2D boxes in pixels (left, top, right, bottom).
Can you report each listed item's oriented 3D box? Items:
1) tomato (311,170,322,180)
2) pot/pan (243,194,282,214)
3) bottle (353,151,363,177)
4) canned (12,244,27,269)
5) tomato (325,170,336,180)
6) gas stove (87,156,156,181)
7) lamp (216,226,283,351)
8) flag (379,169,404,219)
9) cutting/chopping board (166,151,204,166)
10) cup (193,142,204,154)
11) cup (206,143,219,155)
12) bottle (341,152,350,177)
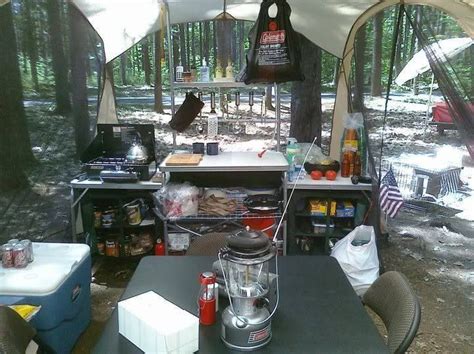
[{"bbox_3d":[0.863,-0.028,4.059,0.098,0.109,0.107,2,6,-24],"label":"tomato"},{"bbox_3d":[0.250,0.280,3.718,0.372,0.158,0.332,0,15,6],"label":"pot/pan"},{"bbox_3d":[1.337,-0.152,4.068,0.085,0.258,0.106,3,15,19],"label":"bottle"},{"bbox_3d":[-1.658,0.598,2.801,0.102,0.189,0.048,-11,17,-34],"label":"canned"},{"bbox_3d":[1.013,-0.032,4.030,0.105,0.111,0.106,0,4,-20],"label":"tomato"},{"bbox_3d":[-1.306,-0.090,4.078,0.775,0.236,0.370,-3,14,-4],"label":"gas stove"},{"bbox_3d":[0.051,0.544,2.031,0.359,0.609,0.451,0,14,6],"label":"lamp"},{"bbox_3d":[1.541,0.177,3.736,0.222,0.490,0.270,6,15,12],"label":"flag"},{"bbox_3d":[-0.556,-0.203,3.895,0.360,0.056,0.469,-1,14,1],"label":"cutting/chopping board"},{"bbox_3d":[-0.425,-0.339,4.132,0.124,0.125,0.116,0,16,0],"label":"cup"},{"bbox_3d":[-0.278,-0.327,4.149,0.142,0.109,0.112,-1,16,-3],"label":"cup"},{"bbox_3d":[1.213,-0.145,4.116,0.092,0.267,0.116,4,15,21],"label":"bottle"}]
